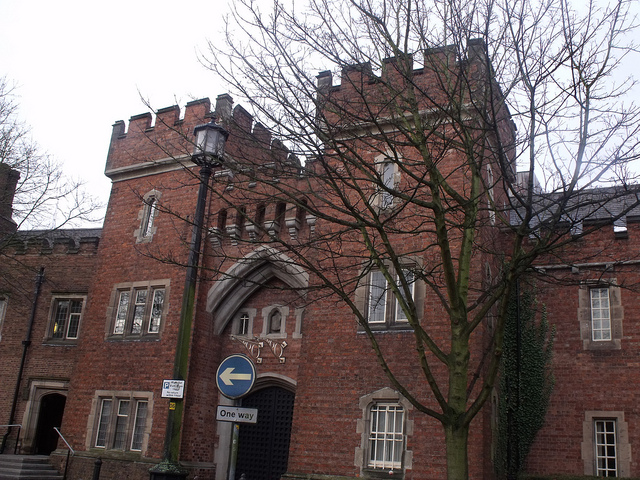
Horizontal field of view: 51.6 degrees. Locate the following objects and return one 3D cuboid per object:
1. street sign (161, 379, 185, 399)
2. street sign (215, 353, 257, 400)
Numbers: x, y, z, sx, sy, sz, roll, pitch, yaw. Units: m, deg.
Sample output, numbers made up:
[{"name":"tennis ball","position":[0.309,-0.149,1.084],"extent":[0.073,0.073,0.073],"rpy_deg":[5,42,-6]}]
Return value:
[{"name":"street sign","position":[-2.949,2.981,13.259],"extent":[0.492,0.413,0.297],"rpy_deg":[-2,-22,8]},{"name":"street sign","position":[-1.588,2.565,12.581],"extent":[0.769,0.828,0.226],"rpy_deg":[-7,-23,19]}]
